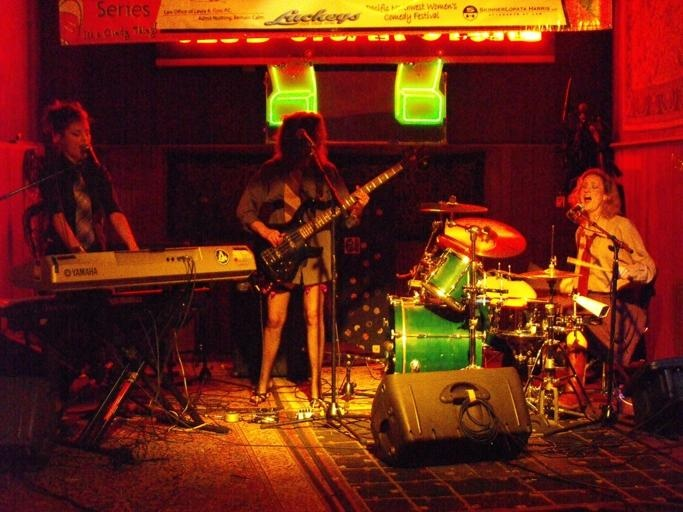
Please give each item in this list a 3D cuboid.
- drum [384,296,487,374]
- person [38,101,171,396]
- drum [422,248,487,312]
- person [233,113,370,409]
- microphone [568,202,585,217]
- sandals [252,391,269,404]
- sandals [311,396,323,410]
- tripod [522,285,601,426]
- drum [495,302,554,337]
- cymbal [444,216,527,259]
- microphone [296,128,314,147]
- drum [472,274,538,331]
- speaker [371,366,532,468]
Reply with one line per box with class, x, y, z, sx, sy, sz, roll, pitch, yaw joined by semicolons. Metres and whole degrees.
drum;0.667;0.635;5.596;0.475;0.648;0.548;3;-2;-7
person;-2.109;-0.107;6.289;0.603;2.447;0.933;14;21;14
drum;0.843;0.264;5.772;0.401;0.416;0.405;42;-2;12
person;-0.320;0.022;5.866;0.855;2.457;0.638;4;21;2
microphone;1.759;-0.351;5.614;0.113;0.093;0.116;-35;17;-32
sandals;-0.633;1.082;5.678;0.113;0.079;0.042;-11;1;33
sandals;-0.196;1.087;5.531;0.061;0.146;0.074;0;-3;-6
tripod;1.628;0.630;5.623;0.493;1.088;0.902;2;7;20
drum;1.310;0.468;5.502;0.232;0.182;0.264;1;-7;-4
cymbal;1.087;-0.182;5.879;0.411;0.066;0.439;-20;46;-41
microphone;-0.288;-0.856;5.435;0.049;0.185;0.050;-28;-20;-12
drum;1.254;0.358;5.825;0.456;0.484;0.442;2;3;39
speaker;0.700;1.041;4.864;0.873;0.717;0.763;-1;3;-13
